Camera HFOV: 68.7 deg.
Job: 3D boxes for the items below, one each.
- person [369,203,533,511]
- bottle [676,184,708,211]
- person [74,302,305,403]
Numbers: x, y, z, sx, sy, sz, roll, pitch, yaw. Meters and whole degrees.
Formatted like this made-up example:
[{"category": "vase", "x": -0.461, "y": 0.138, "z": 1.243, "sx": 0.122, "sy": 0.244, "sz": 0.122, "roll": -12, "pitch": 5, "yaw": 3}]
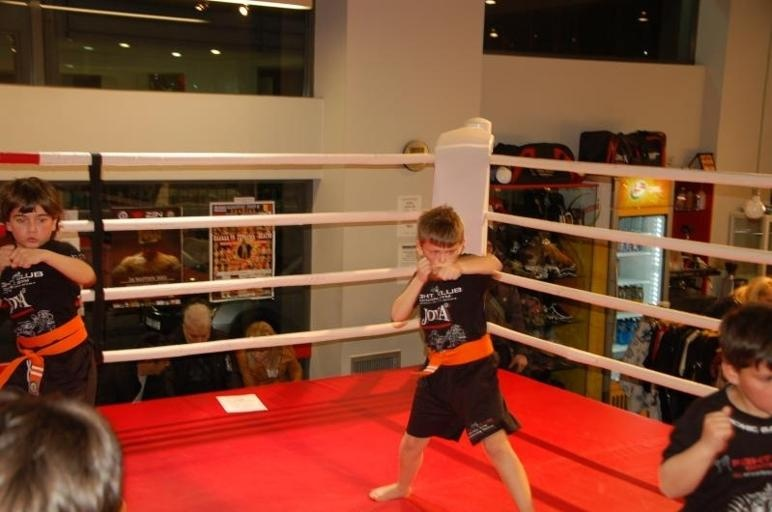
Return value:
[{"category": "person", "x": 0.244, "y": 0.350, "z": 2.038, "sx": 0.576, "sy": 1.014, "sz": 0.421, "roll": 1, "pitch": 11, "yaw": 15}, {"category": "bottle", "x": 3.176, "y": -0.603, "z": 5.895, "sx": 0.352, "sy": 0.256, "sz": 0.137, "roll": -4, "pitch": 11, "yaw": -11}, {"category": "person", "x": -1.182, "y": 0.574, "z": 3.314, "sx": 1.425, "sy": 0.711, "sz": 0.284, "roll": 0, "pitch": 2, "yaw": -33}]
